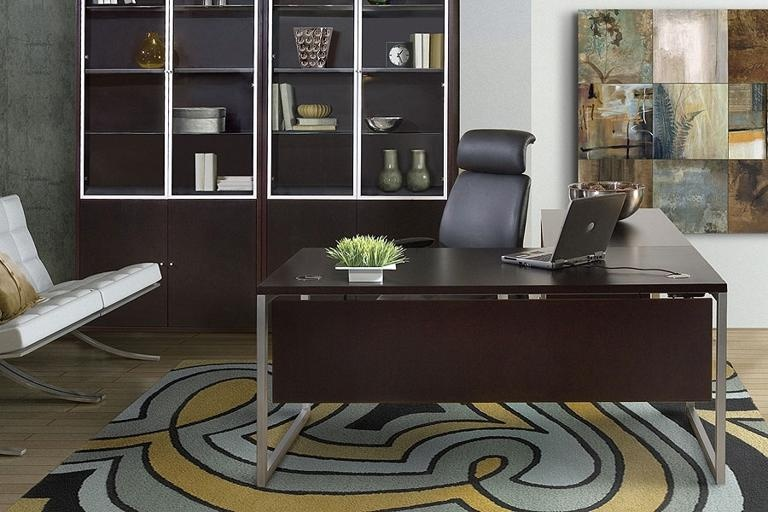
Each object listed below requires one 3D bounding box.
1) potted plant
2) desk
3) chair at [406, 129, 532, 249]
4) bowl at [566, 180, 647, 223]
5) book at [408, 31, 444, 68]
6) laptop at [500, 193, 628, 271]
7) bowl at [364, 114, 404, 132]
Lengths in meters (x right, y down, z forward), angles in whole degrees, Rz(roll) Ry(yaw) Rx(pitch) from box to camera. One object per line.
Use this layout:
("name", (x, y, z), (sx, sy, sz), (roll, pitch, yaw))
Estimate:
("potted plant", (-0.093, 0.013, 3.303), (0.351, 0.177, 0.287), (0, 1, 1))
("desk", (0.773, 0.575, 3.448), (1.629, 0.701, 2.041), (0, 11, 4))
("chair", (0.882, -0.475, 4.496), (0.738, 0.925, 0.957), (6, 6, 39))
("bowl", (1.469, -0.333, 4.051), (0.420, 0.187, 0.395), (-6, 7, 1))
("book", (0.343, -1.705, 5.197), (0.285, 0.335, 0.361), (1, 11, 3))
("laptop", (0.983, -0.132, 3.364), (0.489, 0.320, 0.494), (-8, 10, -40))
("bowl", (-0.007, -1.102, 5.235), (0.295, 0.131, 0.114), (-1, 8, -4))
